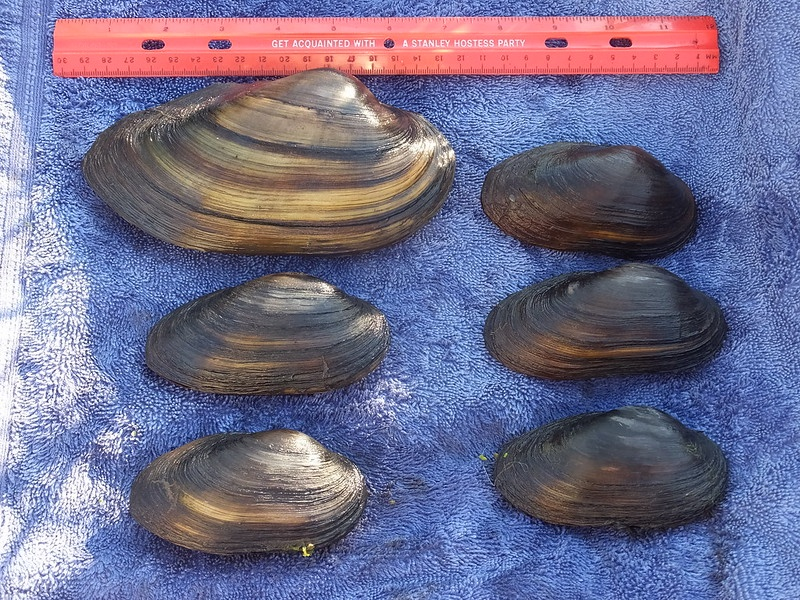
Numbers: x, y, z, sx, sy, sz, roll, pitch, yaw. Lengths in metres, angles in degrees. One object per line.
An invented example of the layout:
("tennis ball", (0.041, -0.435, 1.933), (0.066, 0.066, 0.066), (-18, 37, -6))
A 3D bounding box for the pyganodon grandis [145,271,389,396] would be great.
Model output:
("pyganodon grandis", (-0.383, 0.100, 2.064), (0.696, 0.306, 0.256), (-4, 39, -2))

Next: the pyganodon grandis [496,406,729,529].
("pyganodon grandis", (0.582, 0.470, 1.992), (0.766, 0.165, 0.342), (1, 23, 9))

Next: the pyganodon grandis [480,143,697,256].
("pyganodon grandis", (0.553, -0.286, 2.176), (0.683, 0.162, 0.276), (5, 66, 4))

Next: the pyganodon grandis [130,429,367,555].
("pyganodon grandis", (-0.416, 0.512, 1.975), (0.626, 0.274, 0.280), (-3, 38, 0))

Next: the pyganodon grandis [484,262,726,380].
("pyganodon grandis", (0.591, 0.062, 2.101), (0.698, 0.301, 0.238), (0, 40, 4))
